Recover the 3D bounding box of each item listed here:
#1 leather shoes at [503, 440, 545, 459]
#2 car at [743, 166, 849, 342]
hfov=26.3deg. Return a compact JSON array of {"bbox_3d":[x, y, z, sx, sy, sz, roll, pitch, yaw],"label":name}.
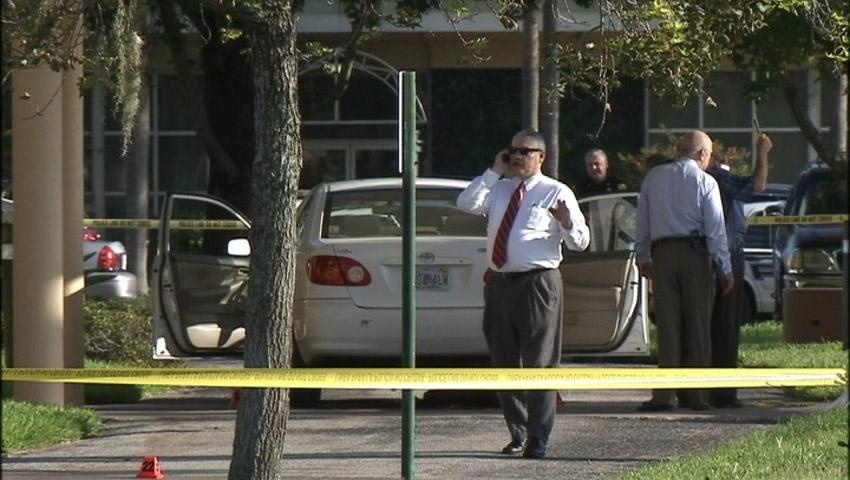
[{"bbox_3d":[1.101,2.306,20.089,0.428,0.171,0.175,-3,3,15],"label":"leather shoes"},{"bbox_3d":[4.747,0.245,23.222,1.069,1.221,2.525,0,4,5],"label":"car"}]
